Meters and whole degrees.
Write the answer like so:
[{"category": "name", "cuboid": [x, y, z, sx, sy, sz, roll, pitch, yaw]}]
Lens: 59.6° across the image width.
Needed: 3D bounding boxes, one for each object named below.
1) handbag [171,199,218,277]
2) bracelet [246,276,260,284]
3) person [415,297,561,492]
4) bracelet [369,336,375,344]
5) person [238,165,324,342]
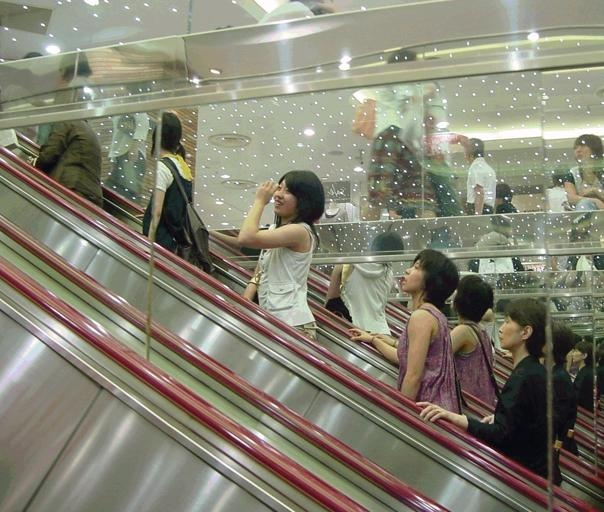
[{"category": "handbag", "cuboid": [-0.746, -0.167, 4.214, 0.384, 0.718, 0.507, -2, 11, 5]}, {"category": "bracelet", "cuboid": [-0.344, 0.177, 3.853, 0.051, 0.039, 0.052, -2, -9, 34]}, {"category": "person", "cuboid": [0.848, 0.515, 2.188, 0.277, 0.675, 0.810, 9, -9, -2]}, {"category": "bracelet", "cuboid": [0.484, 0.580, 3.642, 0.009, 0.041, 0.041, 4, 5, -9]}, {"category": "person", "cuboid": [-0.121, -0.019, 3.308, 0.531, 0.983, 0.446, 9, -9, 2]}]
